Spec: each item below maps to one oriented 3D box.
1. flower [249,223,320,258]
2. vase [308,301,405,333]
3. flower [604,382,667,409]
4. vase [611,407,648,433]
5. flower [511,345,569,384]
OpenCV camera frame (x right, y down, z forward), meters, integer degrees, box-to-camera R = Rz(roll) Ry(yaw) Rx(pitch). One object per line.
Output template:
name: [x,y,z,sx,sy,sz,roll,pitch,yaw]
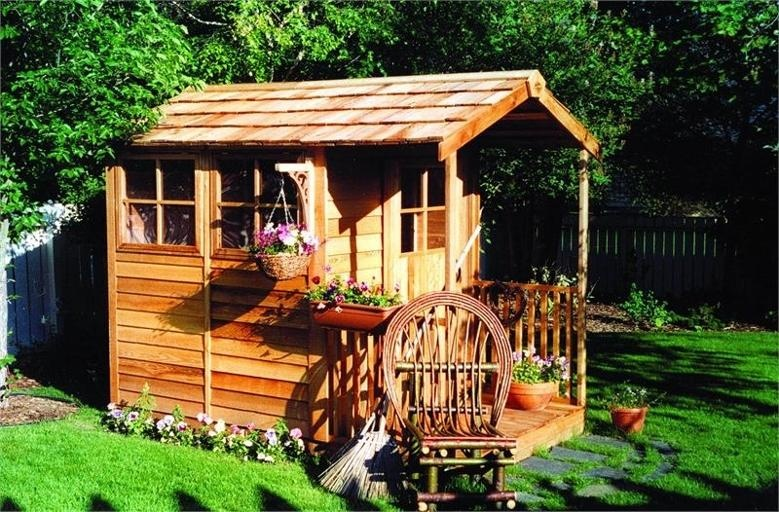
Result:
flower: [-1.198,-0.252,8.046,0.562,0.405,0.508,-2,12,-22]
vase: [-0.400,0.685,7.820,0.882,0.311,0.639,6,20,11]
flower: [3.317,1.931,9.658,0.559,0.351,0.894,-3,-7,30]
vase: [3.039,2.029,8.960,0.331,0.265,0.342,3,-4,-29]
flower: [1.954,1.423,9.120,0.755,0.430,0.555,4,0,8]
